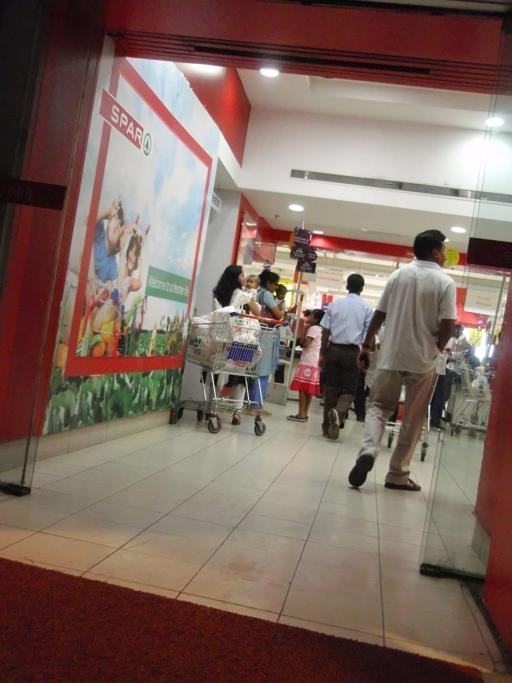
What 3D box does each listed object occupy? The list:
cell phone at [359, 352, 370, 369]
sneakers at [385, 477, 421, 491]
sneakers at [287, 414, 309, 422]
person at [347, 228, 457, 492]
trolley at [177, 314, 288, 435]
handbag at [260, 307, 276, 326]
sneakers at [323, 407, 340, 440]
[{"bbox_3d":[0.865,0.151,3.356,0.041,0.125,0.087,6,2,-17],"label":"cell phone"},{"bbox_3d":[1.124,1.096,3.229,0.274,0.109,0.110,1,2,-4],"label":"sneakers"},{"bbox_3d":[0.645,1.165,6.382,0.283,0.123,0.119,7,-3,-2],"label":"sneakers"},{"bbox_3d":[1.098,0.137,3.067,0.648,1.884,0.626,2,-13,28],"label":"person"},{"bbox_3d":[-0.390,0.289,4.816,0.724,1.223,1.178,9,2,-34],"label":"trolley"},{"bbox_3d":[0.157,-0.353,5.830,0.115,0.166,0.236,-12,53,-21],"label":"handbag"},{"bbox_3d":[0.828,0.940,4.696,0.188,0.505,0.212,6,43,17],"label":"sneakers"}]
